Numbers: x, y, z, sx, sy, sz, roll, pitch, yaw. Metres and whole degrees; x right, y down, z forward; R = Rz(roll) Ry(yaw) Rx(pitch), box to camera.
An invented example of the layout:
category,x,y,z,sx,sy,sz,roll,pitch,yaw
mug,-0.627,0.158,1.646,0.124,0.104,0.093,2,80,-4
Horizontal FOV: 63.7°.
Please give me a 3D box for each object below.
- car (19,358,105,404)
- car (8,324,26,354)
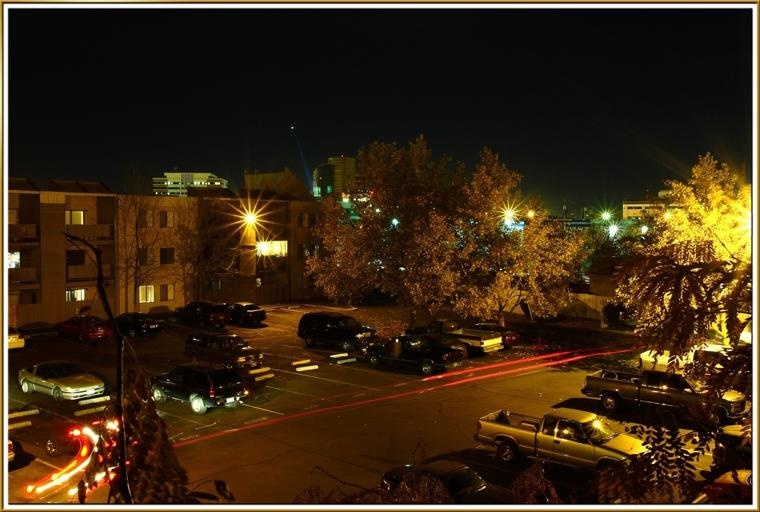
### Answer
category,x,y,z,sx,sy,sz,roll,pitch,yaw
car,-13.573,5.315,26.230,3.334,1.121,1.683,2,2,36
car,-20.681,4.773,35.057,0.813,1.477,2.102,-5,0,-30
